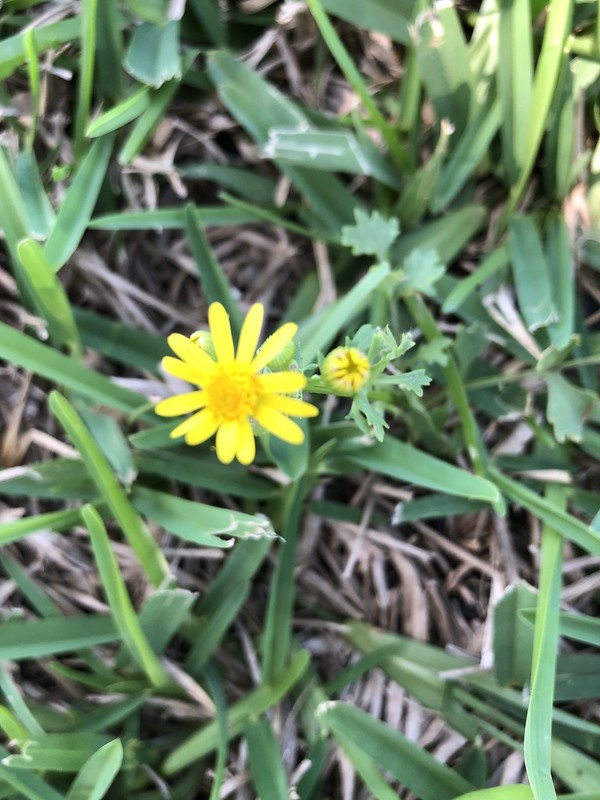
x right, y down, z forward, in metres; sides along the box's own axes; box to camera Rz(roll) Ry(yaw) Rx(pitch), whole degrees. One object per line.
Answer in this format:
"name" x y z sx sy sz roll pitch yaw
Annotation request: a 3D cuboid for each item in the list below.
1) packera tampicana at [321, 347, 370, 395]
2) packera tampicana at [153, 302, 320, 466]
"packera tampicana" 0.048 -0.028 0.718 0.047 0.024 0.047 -44 84 1
"packera tampicana" -0.066 -0.016 0.725 0.155 0.151 0.165 3 81 -5
